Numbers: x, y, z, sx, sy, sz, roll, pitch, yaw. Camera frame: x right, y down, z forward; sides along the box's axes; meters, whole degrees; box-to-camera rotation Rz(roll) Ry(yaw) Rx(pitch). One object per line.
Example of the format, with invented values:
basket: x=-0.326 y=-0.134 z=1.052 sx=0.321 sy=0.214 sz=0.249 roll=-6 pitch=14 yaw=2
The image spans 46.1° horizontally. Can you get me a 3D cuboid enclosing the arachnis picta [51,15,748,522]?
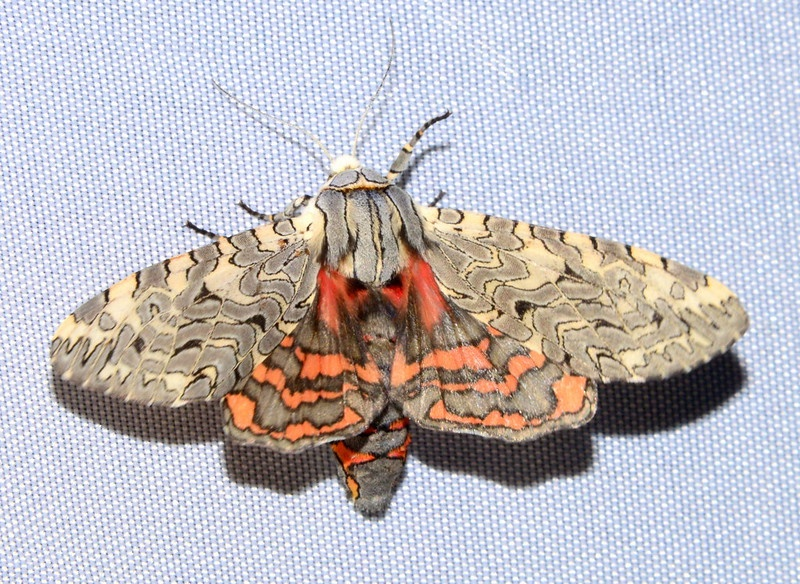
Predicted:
arachnis picta: x=-0.152 y=-0.029 z=5.515 sx=3.616 sy=0.876 sz=2.253 roll=-5 pitch=72 yaw=3
